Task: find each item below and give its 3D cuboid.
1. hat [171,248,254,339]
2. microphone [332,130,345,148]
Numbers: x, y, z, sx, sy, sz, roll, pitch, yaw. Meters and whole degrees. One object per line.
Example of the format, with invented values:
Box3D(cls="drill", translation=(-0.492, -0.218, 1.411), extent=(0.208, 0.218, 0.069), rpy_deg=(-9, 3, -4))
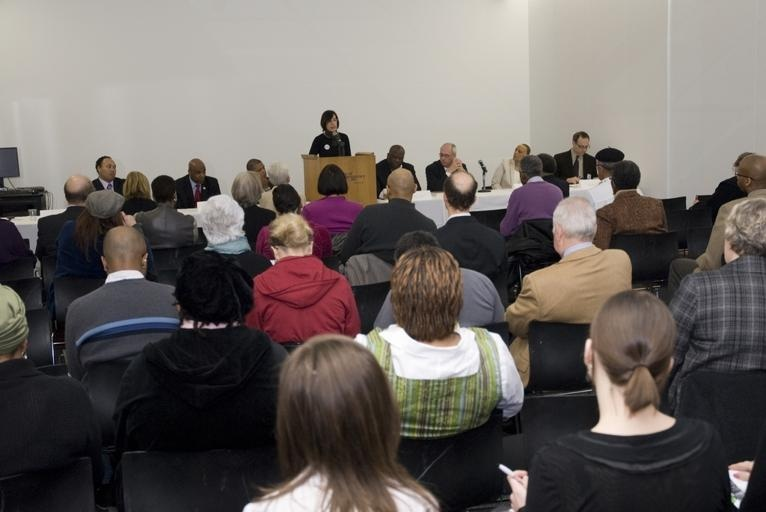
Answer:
Box3D(cls="hat", translation=(-0.630, 0.119, 2.247), extent=(0.218, 0.308, 0.284), rpy_deg=(-3, 16, -16))
Box3D(cls="microphone", translation=(-0.540, -1.442, 7.312), extent=(0.069, 0.237, 0.145), rpy_deg=(-6, 9, -17))
